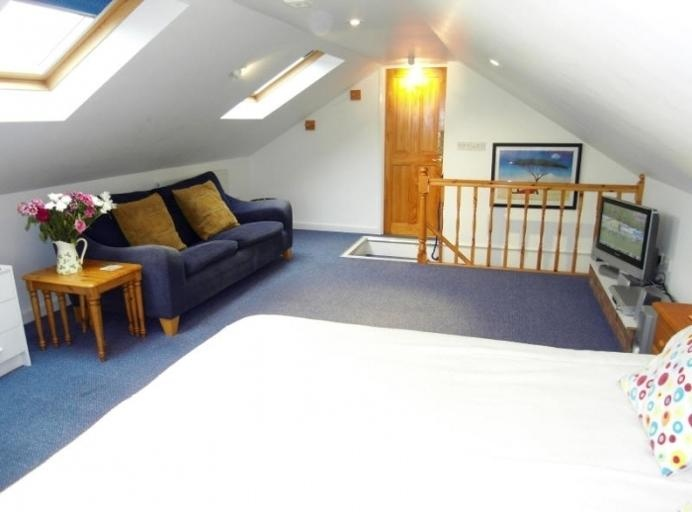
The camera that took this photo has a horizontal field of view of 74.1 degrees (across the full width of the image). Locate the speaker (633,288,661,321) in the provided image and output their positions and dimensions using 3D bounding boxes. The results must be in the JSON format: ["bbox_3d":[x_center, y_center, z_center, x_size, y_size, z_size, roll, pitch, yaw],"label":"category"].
[{"bbox_3d":[1.910,0.312,2.899,0.075,0.105,0.143,-17,36,38],"label":"speaker"}]

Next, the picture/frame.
[{"bbox_3d":[2.220,-0.939,5.256,0.838,0.717,0.032,4,8,16],"label":"picture/frame"}]

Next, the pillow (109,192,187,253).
[{"bbox_3d":[-1.690,-0.260,3.932,0.395,0.466,0.472,9,19,36],"label":"pillow"}]

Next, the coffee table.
[{"bbox_3d":[-1.838,0.210,3.434,0.756,0.746,0.726,5,15,20],"label":"coffee table"}]

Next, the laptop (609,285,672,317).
[{"bbox_3d":[2.027,0.283,3.160,0.262,0.082,0.275,-2,20,14],"label":"laptop"}]

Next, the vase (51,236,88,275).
[{"bbox_3d":[-1.954,-0.009,3.354,0.324,0.338,0.215,-1,11,-30],"label":"vase"}]

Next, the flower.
[{"bbox_3d":[-1.981,-0.188,3.223,0.458,0.328,0.469,0,-1,40],"label":"flower"}]

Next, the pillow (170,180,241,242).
[{"bbox_3d":[-1.405,-0.468,4.558,0.169,0.556,0.578,-26,13,25],"label":"pillow"}]
